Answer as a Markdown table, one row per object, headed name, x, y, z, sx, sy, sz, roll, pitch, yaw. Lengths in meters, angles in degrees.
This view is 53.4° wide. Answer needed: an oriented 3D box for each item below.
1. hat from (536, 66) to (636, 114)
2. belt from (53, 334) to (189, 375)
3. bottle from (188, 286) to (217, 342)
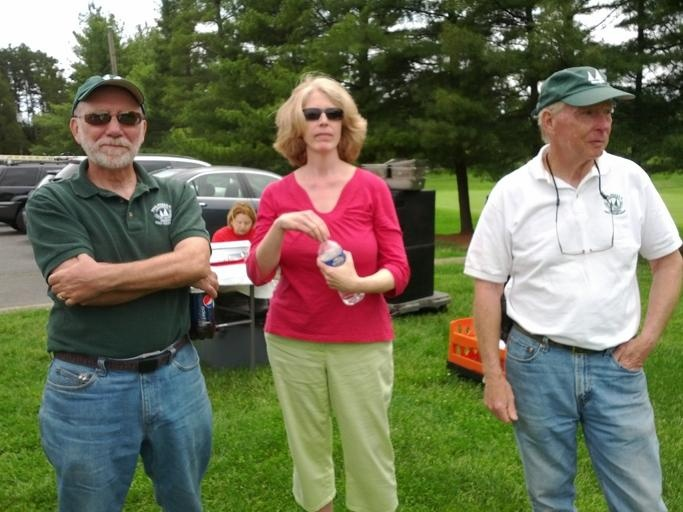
| name | x | y | z | sx | sy | sz | roll | pitch | yaw |
| --- | --- | --- | --- | --- | --- | --- | --- | --- | --- |
| hat | 1.242 | -0.883 | 3.514 | 0.372 | 0.199 | 0.518 | -12 | 19 | -18 |
| belt | -1.085 | 0.510 | 3.393 | 0.634 | 0.135 | 0.150 | -3 | 10 | -20 |
| bottle | -0.797 | 0.318 | 3.721 | 0.207 | 0.278 | 0.197 | -1 | -3 | 0 |
